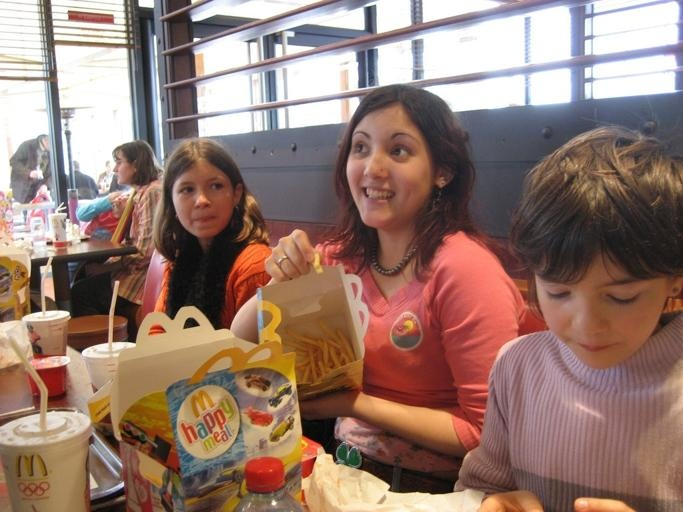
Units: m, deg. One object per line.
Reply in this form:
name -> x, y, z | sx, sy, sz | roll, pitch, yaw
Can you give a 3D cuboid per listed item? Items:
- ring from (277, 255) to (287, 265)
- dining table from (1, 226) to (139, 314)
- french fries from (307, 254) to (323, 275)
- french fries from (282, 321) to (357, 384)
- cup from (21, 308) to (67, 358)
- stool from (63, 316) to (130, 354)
ring -> -0.140, 0.011, 1.280 | 0.018, 0.004, 0.018 | -41, 14, 13
dining table -> -1.757, 0.020, 3.512 | 0.691, 0.682, 0.703 | 0, 4, 40
french fries -> -0.060, 0.017, 1.186 | 0.017, 0.013, 0.044 | -10, 33, 9
french fries -> -0.052, 0.205, 1.194 | 0.145, 0.144, 0.047 | -26, 10, -5
cup -> -0.833, 0.218, 1.531 | 0.131, 0.132, 0.128 | 0, 4, 0
stool -> -0.846, 0.257, 1.859 | 0.155, 0.134, 0.180 | 0, -1, -6
